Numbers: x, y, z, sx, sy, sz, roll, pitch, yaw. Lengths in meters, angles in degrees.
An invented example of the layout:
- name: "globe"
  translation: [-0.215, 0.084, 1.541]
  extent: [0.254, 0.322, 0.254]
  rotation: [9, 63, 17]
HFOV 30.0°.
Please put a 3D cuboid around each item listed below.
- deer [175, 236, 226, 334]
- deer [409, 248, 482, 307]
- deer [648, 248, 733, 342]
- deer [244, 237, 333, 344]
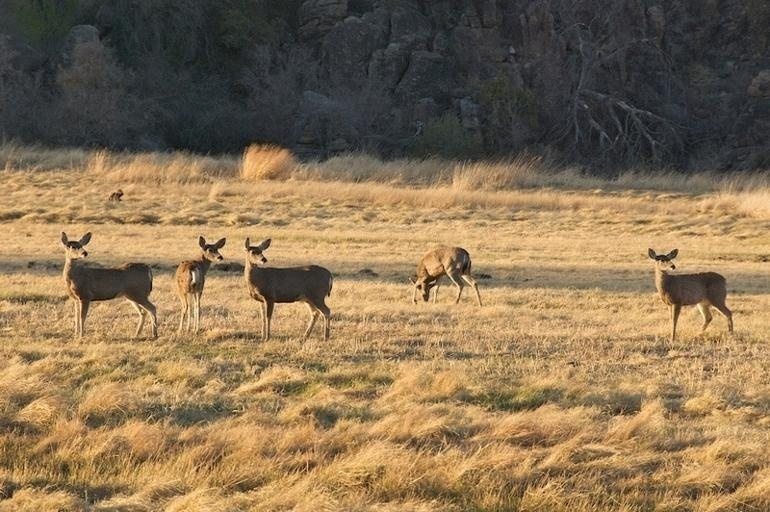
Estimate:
- name: "deer"
  translation: [-8.846, 1.331, 70.548]
  extent: [1.503, 4.639, 5.130]
  rotation: [5, 4, 5]
- name: "deer"
  translation: [3.057, 0.740, 72.650]
  extent: [3.254, 2.727, 2.672]
  rotation: [1, 14, -1]
- name: "deer"
  translation: [14.686, 1.867, 68.944]
  extent: [4.495, 3.979, 1.474]
  rotation: [3, -1, -23]
- name: "deer"
  translation: [-4.554, 1.763, 68.295]
  extent: [4.955, 4.707, 1.488]
  rotation: [4, -3, -14]
